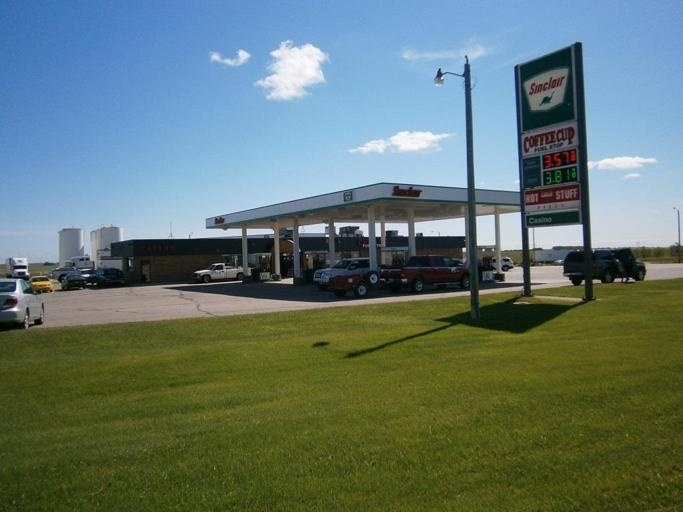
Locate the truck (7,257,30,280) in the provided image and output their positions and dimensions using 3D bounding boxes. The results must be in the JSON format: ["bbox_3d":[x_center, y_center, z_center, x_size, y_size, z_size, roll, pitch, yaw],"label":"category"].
[{"bbox_3d":[-31.740,1.276,51.247,1.810,3.087,5.529,2,-4,-38],"label":"truck"}]

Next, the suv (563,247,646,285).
[{"bbox_3d":[13.985,0.506,28.805,3.889,1.555,2.667,-4,5,-31],"label":"suv"}]

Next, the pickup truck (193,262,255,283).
[{"bbox_3d":[-11.113,1.595,46.228,4.141,1.662,1.907,1,-3,-37],"label":"pickup truck"}]

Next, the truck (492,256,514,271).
[{"bbox_3d":[15.862,0.753,51.918,2.450,1.171,1.460,3,-3,-20],"label":"truck"}]
